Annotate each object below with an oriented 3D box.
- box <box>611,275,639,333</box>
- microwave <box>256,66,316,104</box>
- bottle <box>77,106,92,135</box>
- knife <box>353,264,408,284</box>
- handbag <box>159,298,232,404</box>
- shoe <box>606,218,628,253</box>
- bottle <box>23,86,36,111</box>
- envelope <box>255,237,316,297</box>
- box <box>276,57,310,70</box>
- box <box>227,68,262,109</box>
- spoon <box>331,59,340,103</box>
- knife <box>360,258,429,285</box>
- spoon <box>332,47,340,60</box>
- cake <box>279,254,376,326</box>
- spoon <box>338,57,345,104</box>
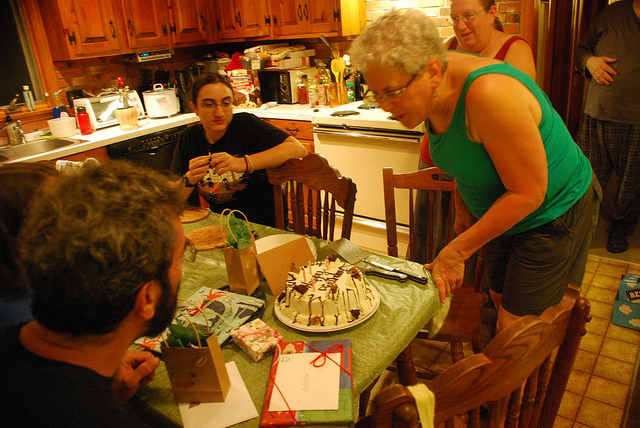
[{"bbox_3d":[1.918,0.554,2.720,0.144,0.243,0.259,12,29,39],"label":"box"},{"bbox_3d":[-0.357,-1.232,4.418,0.379,0.376,0.605,2,8,30],"label":"microwave"},{"bbox_3d":[-2.033,-0.806,3.774,0.071,0.224,0.125,-5,22,5],"label":"bottle"},{"bbox_3d":[0.231,0.233,1.677,0.174,0.016,0.028,16,53,36],"label":"knife"},{"bbox_3d":[-0.374,0.405,1.283,0.165,0.316,0.099,-8,20,13],"label":"handbag"},{"bbox_3d":[2.262,0.180,3.442,0.123,0.226,0.338,2,20,32],"label":"shoe"},{"bbox_3d":[-2.502,-0.997,3.774,0.067,0.201,0.136,-18,24,-25],"label":"bottle"},{"bbox_3d":[-0.145,0.186,1.661,0.273,0.187,0.068,-26,19,-29],"label":"envelope"},{"bbox_3d":[-0.265,-1.486,4.310,0.373,0.092,0.091,-25,28,-39],"label":"box"},{"bbox_3d":[-0.800,-1.248,4.365,0.295,0.371,0.213,-4,21,-12],"label":"box"},{"bbox_3d":[0.127,-1.195,3.863,0.053,0.258,0.040,4,12,25],"label":"spoon"},{"bbox_3d":[0.279,0.229,1.702,0.031,0.017,0.209,-31,33,-30],"label":"knife"},{"bbox_3d":[0.137,-1.437,3.873,0.041,0.150,0.026,-15,-21,9],"label":"spoon"},{"bbox_3d":[0.010,0.256,1.591,0.338,0.124,0.339,-8,27,-16],"label":"cake"},{"bbox_3d":[0.190,-1.193,3.868,0.063,0.298,0.041,-9,12,-36],"label":"spoon"}]
